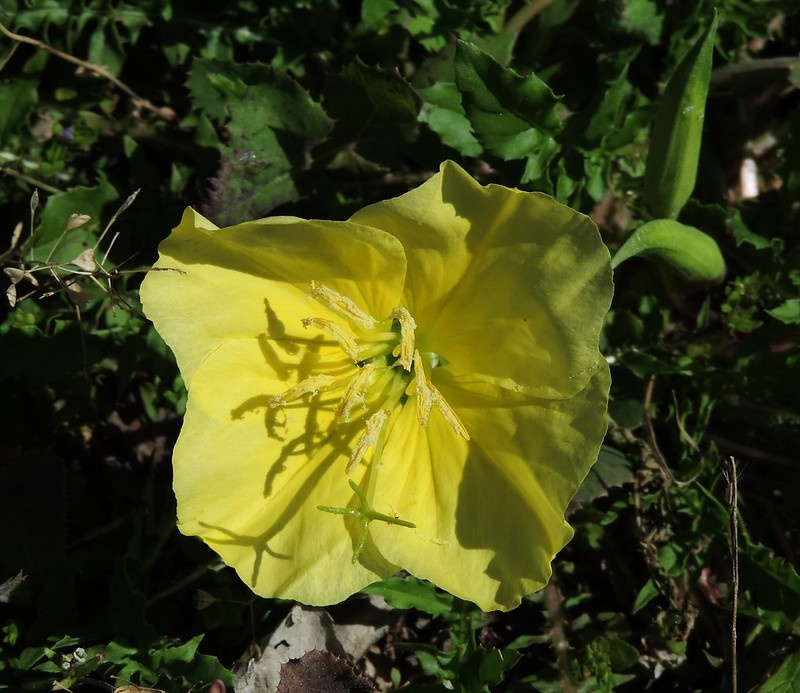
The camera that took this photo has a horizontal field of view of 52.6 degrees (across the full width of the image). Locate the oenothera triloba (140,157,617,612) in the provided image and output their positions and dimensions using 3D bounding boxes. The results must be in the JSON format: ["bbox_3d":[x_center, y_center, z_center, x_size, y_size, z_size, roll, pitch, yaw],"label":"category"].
[{"bbox_3d":[0.022,0.063,2.123,1.385,1.064,0.579,13,22,8],"label":"oenothera triloba"}]
